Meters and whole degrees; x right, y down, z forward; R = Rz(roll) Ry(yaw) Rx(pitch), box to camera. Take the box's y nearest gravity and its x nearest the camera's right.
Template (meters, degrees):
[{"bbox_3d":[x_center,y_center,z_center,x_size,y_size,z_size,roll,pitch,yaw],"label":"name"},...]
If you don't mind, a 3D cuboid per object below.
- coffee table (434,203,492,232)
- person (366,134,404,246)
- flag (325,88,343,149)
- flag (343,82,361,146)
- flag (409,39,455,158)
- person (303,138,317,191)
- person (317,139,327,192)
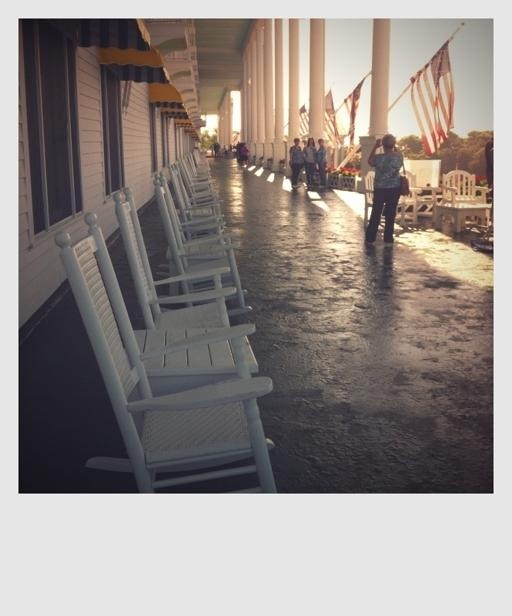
[{"bbox_3d":[3.766,-1.743,9.204,0.692,0.520,0.795,-3,25,2],"label":"coffee table"},{"bbox_3d":[2.117,-1.928,8.049,0.535,1.679,0.971,4,14,13],"label":"person"},{"bbox_3d":[6.795,-16.669,43.053,0.940,4.434,3.667,-1,14,-6],"label":"flag"},{"bbox_3d":[7.413,-14.796,37.660,1.256,4.083,5.150,3,15,9],"label":"flag"},{"bbox_3d":[7.567,-9.061,20.666,1.523,5.330,0.487,0,-12,11],"label":"flag"},{"bbox_3d":[1.984,-5.179,17.716,0.447,1.753,1.472,2,14,6],"label":"person"},{"bbox_3d":[2.395,-5.201,17.796,0.380,1.687,1.012,2,14,6],"label":"person"}]
